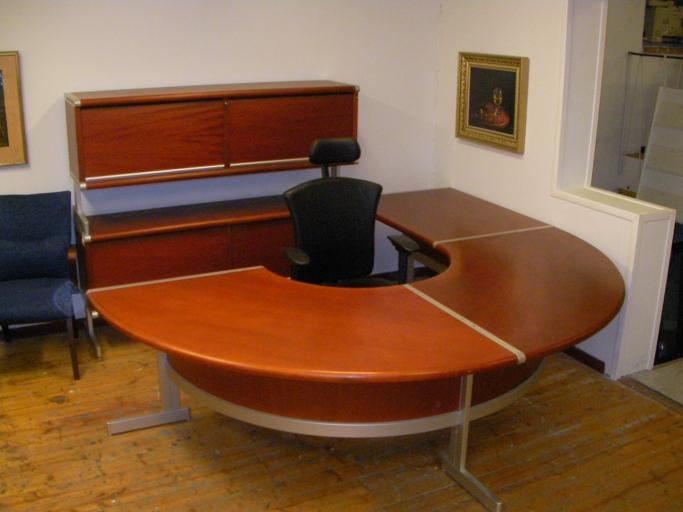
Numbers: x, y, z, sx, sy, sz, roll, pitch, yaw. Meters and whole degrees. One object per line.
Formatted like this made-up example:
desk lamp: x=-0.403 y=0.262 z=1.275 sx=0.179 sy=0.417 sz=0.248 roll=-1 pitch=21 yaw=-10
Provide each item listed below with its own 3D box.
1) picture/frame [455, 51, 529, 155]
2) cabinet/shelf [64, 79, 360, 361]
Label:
picture/frame: x=1.280 y=-1.311 z=4.679 sx=0.087 sy=0.814 sz=0.841 roll=-10 pitch=20 yaw=-30
cabinet/shelf: x=-0.948 y=-0.288 z=3.841 sx=1.915 sy=1.760 sz=0.635 roll=-10 pitch=21 yaw=-27
